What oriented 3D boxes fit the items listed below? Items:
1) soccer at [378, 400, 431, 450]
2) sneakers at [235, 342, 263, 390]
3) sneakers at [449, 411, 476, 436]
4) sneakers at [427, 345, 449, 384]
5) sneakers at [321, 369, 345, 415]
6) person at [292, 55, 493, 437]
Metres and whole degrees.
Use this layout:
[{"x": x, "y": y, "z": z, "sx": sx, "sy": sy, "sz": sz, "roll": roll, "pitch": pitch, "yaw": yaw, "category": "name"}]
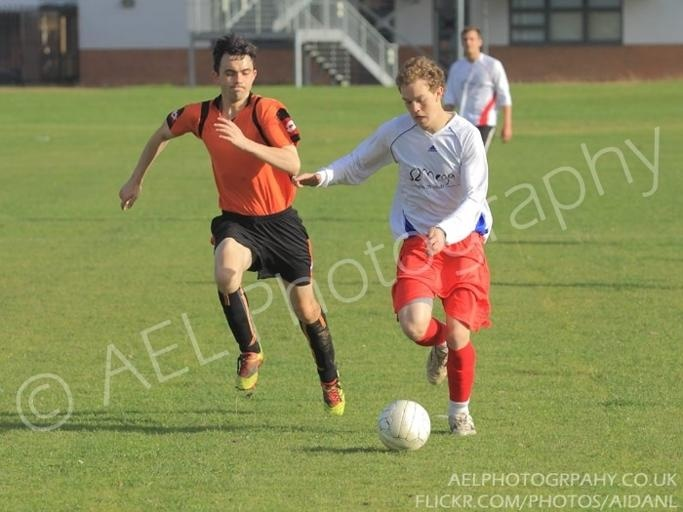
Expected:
[{"x": 0.500, "y": 1.322, "z": 10.938, "sx": 0.361, "sy": 0.373, "sz": 0.356, "roll": 3, "pitch": -20, "yaw": 1, "category": "soccer"}, {"x": -0.752, "y": 0.907, "z": 11.461, "sx": 0.153, "sy": 0.440, "sz": 0.192, "roll": 3, "pitch": -16, "yaw": 20, "category": "sneakers"}, {"x": 0.978, "y": 1.337, "z": 11.157, "sx": 0.221, "sy": 0.180, "sz": 0.166, "roll": -1, "pitch": 9, "yaw": -6, "category": "sneakers"}, {"x": 0.813, "y": 0.905, "z": 11.639, "sx": 0.129, "sy": 0.372, "sz": 0.158, "roll": 1, "pitch": 7, "yaw": -7, "category": "sneakers"}, {"x": -0.048, "y": 1.113, "z": 11.437, "sx": 0.127, "sy": 0.366, "sz": 0.155, "roll": -14, "pitch": 3, "yaw": 8, "category": "sneakers"}, {"x": 0.647, "y": -0.110, "z": 11.307, "sx": 1.123, "sy": 2.985, "sz": 0.859, "roll": 1, "pitch": 8, "yaw": 11, "category": "person"}]
